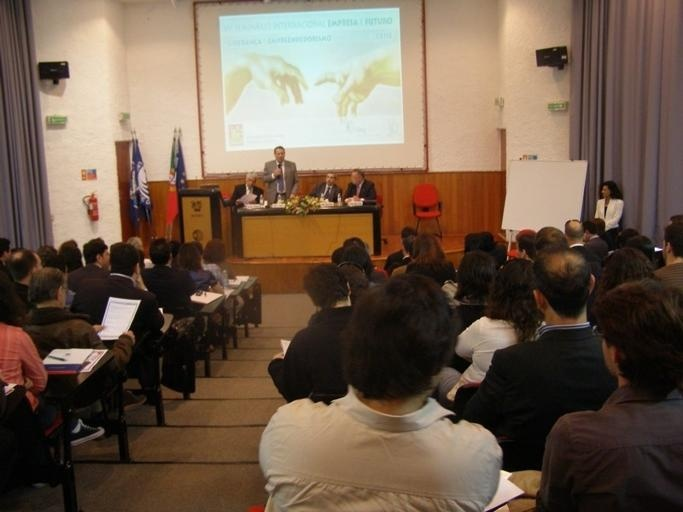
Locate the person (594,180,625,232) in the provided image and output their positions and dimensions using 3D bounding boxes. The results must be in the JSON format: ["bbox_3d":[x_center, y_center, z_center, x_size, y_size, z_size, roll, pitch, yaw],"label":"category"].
[{"bbox_3d":[3.577,-0.386,7.651,0.314,1.159,0.340,1,10,26],"label":"person"}]

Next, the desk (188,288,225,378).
[{"bbox_3d":[-1.207,0.656,5.122,0.280,0.647,0.645,-1,9,-1],"label":"desk"}]

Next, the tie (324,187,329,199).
[{"bbox_3d":[-0.247,-1.010,9.113,0.038,0.150,0.102,13,7,-28],"label":"tie"}]

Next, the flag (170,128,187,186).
[{"bbox_3d":[-2.959,-1.767,10.240,0.270,1.050,0.434,-3,9,-16],"label":"flag"}]

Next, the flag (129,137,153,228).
[{"bbox_3d":[-3.631,-1.376,10.203,0.363,1.574,0.373,-3,9,-19],"label":"flag"}]

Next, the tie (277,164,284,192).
[{"bbox_3d":[-0.964,-1.228,9.047,0.118,0.454,0.289,-1,9,-7],"label":"tie"}]

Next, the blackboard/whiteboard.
[{"bbox_3d":[2.772,-0.787,7.645,0.997,1.137,0.374,10,15,33],"label":"blackboard/whiteboard"}]

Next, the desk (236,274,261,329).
[{"bbox_3d":[-0.984,0.499,5.969,0.258,0.423,0.425,1,19,3],"label":"desk"}]

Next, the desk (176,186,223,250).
[{"bbox_3d":[-2.154,-0.590,8.612,0.612,0.857,0.327,-2,9,-10],"label":"desk"}]

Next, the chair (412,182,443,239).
[{"bbox_3d":[1.504,-0.798,9.994,0.531,0.926,0.552,1,9,8],"label":"chair"}]

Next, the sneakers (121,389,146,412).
[{"bbox_3d":[-1.609,1.074,4.280,0.250,0.131,0.085,2,2,-32],"label":"sneakers"}]
